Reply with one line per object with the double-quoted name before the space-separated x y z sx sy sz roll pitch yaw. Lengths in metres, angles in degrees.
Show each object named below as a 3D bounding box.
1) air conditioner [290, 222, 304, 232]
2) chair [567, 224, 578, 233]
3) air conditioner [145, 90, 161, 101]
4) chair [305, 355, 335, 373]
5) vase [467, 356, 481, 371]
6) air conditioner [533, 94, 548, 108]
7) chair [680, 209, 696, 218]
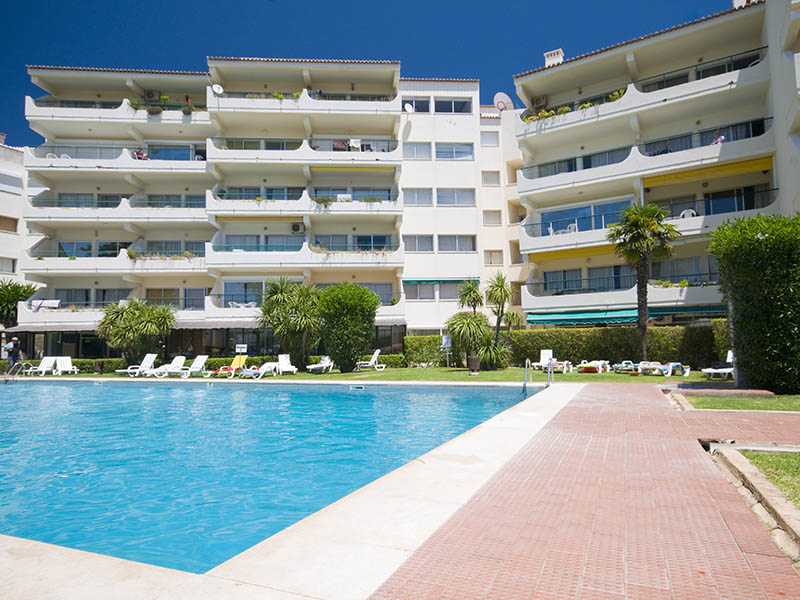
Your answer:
"air conditioner" -7.349 -5.172 50.670 1.006 0.777 0.593 0 -6 1
"chair" 11.118 -4.685 45.269 0.574 0.809 0.622 4 -5 32
"air conditioner" -18.212 -15.156 51.832 1.159 0.682 0.660 -5 12 -14
"chair" -4.702 3.851 42.071 0.938 0.807 1.229 1 -7 22
"vase" 3.867 3.370 37.389 0.695 0.796 0.735 -5 -10 30
"air conditioner" 9.950 -14.186 49.879 0.846 0.843 0.460 -6 -8 37
"chair" 16.831 -5.014 41.037 0.848 0.485 0.428 2 12 22
